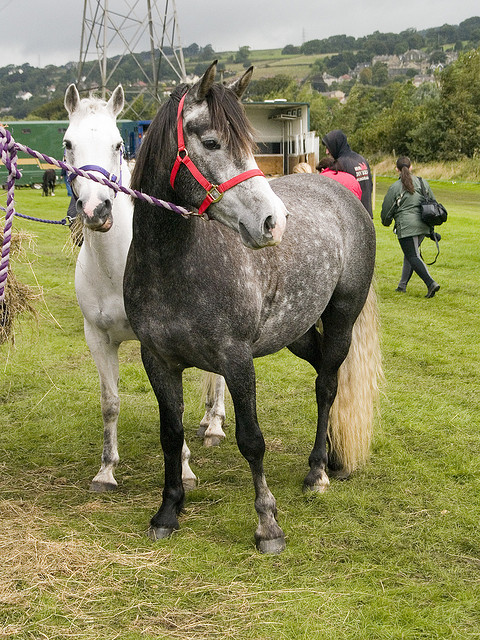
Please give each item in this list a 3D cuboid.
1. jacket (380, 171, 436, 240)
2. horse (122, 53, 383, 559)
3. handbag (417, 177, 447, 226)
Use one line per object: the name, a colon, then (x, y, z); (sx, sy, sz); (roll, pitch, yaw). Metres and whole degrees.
jacket: (2.335, -1.628, 9.852); (0.733, 0.869, 0.528); (-7, 3, 15)
horse: (0.018, -0.026, 4.049); (0.890, 2.188, 2.762); (1, 3, 28)
handbag: (2.722, -1.543, 9.677); (0.479, 0.772, 0.342); (-5, 15, 19)
